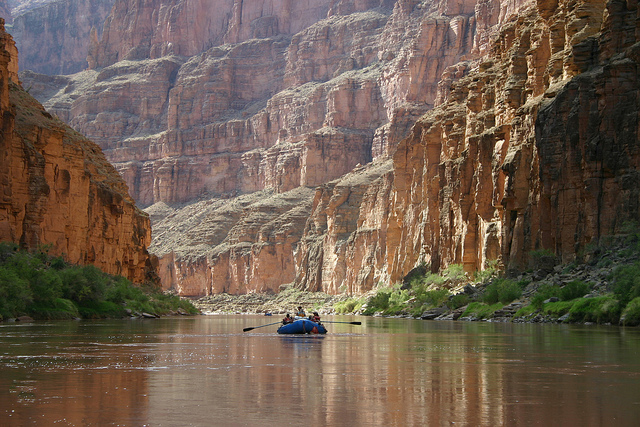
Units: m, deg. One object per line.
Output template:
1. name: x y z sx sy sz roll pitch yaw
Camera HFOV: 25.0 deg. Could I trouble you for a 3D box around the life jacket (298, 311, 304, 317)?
1. life jacket: -1.934 9.847 143.115 0.533 0.592 0.817 0 -14 -8
